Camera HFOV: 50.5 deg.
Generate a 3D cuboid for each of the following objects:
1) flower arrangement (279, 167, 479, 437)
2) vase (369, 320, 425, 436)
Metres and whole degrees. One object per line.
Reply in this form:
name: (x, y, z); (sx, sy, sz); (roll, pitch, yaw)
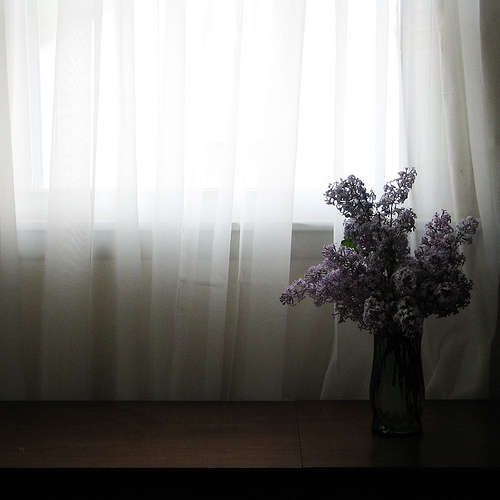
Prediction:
flower arrangement: (0.251, 0.121, 0.941); (0.180, 0.340, 0.234); (4, 11, 11)
vase: (0.251, 0.195, 0.945); (0.080, 0.259, 0.087); (-6, 8, 18)
